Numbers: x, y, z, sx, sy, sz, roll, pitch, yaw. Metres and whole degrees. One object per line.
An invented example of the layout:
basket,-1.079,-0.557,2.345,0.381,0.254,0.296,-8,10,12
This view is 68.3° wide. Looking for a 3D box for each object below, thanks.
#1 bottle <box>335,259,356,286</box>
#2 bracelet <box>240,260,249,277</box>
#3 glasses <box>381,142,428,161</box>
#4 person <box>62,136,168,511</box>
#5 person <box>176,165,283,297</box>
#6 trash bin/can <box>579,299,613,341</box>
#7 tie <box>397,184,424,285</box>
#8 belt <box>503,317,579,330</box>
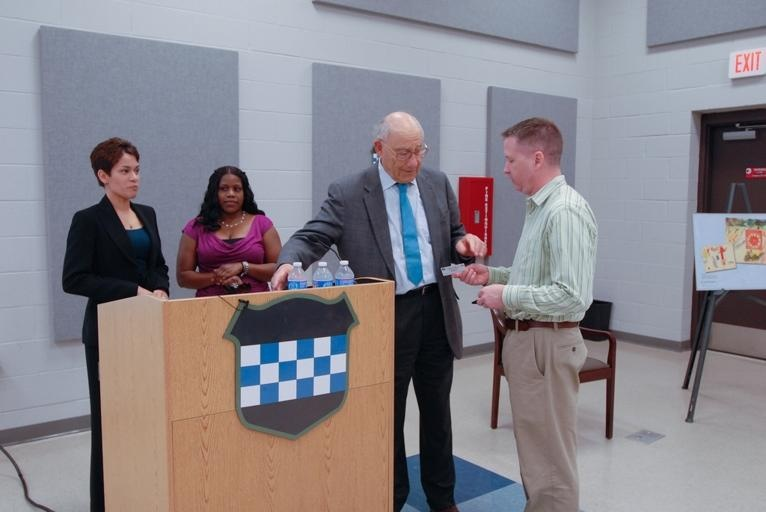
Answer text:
bottle,-0.188,0.086,2.908,0.112,0.211,0.118,-2,5,0
bracelet,-0.966,0.098,3.937,0.059,0.098,0.042,-3,12,-16
glasses,0.124,-0.604,3.276,0.287,0.092,0.227,-2,12,-11
person,-1.582,0.406,3.438,0.605,2.199,0.654,9,15,38
person,-1.078,-0.192,4.013,0.645,0.855,0.619,9,14,35
trash bin/can,2.603,0.794,6.998,0.333,0.458,0.360,-3,5,-42
tie,0.161,-0.124,3.310,0.109,0.585,0.181,-3,12,-17
belt,0.874,0.391,3.151,0.405,0.087,0.099,3,12,11
